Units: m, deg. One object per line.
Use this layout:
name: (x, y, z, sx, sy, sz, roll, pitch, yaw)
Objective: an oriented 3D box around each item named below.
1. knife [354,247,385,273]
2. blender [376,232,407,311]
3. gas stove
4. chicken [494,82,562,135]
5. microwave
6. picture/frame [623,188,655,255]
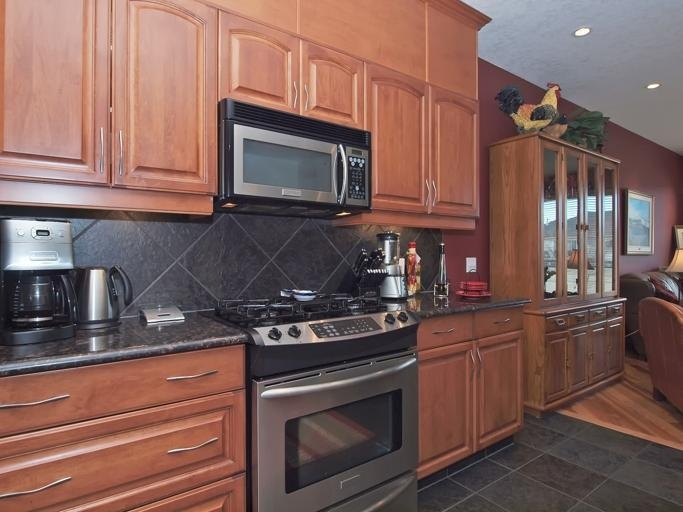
knife: (0.176, 0.041, 3.268, 0.178, 0.127, 0.190, 5, -14, -12)
blender: (0.316, 0.060, 3.272, 0.179, 0.423, 0.220, -7, 7, -34)
gas stove: (-0.189, 0.326, 2.632, 0.592, 0.087, 0.478, 15, 5, -38)
chicken: (1.505, -1.162, 4.145, 0.566, 0.393, 0.205, -5, 1, -9)
microwave: (-0.338, -0.484, 2.836, 0.812, 0.516, 0.541, 4, 4, -36)
picture/frame: (3.777, -0.389, 6.630, 0.887, 0.842, 0.039, 1, 0, -39)
